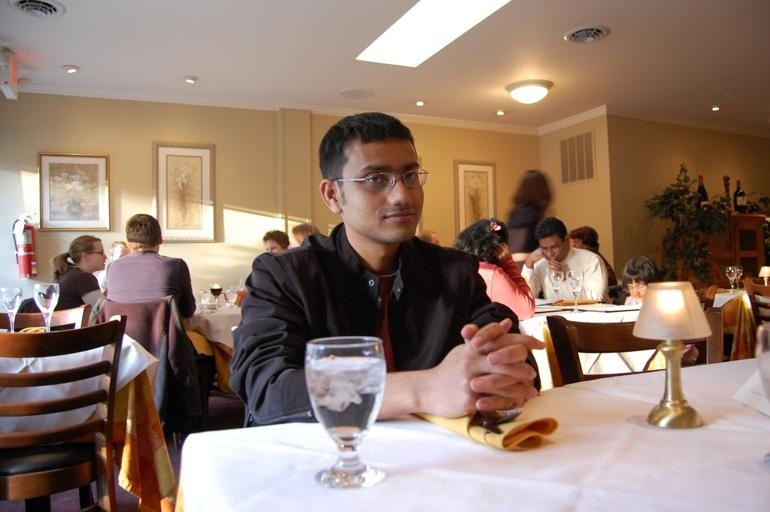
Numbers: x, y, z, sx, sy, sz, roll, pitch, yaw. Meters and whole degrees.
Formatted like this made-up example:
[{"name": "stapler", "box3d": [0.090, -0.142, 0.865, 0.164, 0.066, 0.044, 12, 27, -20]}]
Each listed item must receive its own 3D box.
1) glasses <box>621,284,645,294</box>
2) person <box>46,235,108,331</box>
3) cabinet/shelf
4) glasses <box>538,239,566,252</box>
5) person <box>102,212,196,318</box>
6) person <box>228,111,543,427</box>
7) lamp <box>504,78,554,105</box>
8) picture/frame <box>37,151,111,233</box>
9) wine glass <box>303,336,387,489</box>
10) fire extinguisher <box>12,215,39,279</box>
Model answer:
[{"name": "glasses", "box3d": [1.728, 0.225, 3.716, 0.137, 0.044, 0.132, 6, -9, -21]}, {"name": "person", "box3d": [-2.392, 0.285, 4.308, 0.456, 0.851, 0.432, -7, 5, -11]}, {"name": "cabinet/shelf", "box3d": [4.380, -0.079, 7.042, 0.845, 1.312, 0.456, 10, -11, -28]}, {"name": "glasses", "box3d": [1.455, -0.086, 4.627, 0.118, 0.068, 0.156, -4, -11, 23]}, {"name": "person", "box3d": [-1.733, 0.146, 3.868, 0.597, 0.878, 0.561, -2, -6, -34]}, {"name": "person", "box3d": [-0.025, 0.072, 1.968, 0.905, 0.984, 1.136, 1, -13, -25]}, {"name": "lamp", "box3d": [1.784, -2.013, 6.521, 0.645, 0.254, 0.527, -2, 12, -4]}, {"name": "picture/frame", "box3d": [-3.535, -0.729, 6.051, 0.732, 0.878, 0.166, -5, 13, -15]}, {"name": "wine glass", "box3d": [-0.094, 0.356, 1.279, 0.184, 0.317, 0.208, -6, 13, -20]}, {"name": "fire extinguisher", "box3d": [-3.965, -0.098, 5.878, 0.202, 0.687, 0.311, -7, 13, -24]}]
